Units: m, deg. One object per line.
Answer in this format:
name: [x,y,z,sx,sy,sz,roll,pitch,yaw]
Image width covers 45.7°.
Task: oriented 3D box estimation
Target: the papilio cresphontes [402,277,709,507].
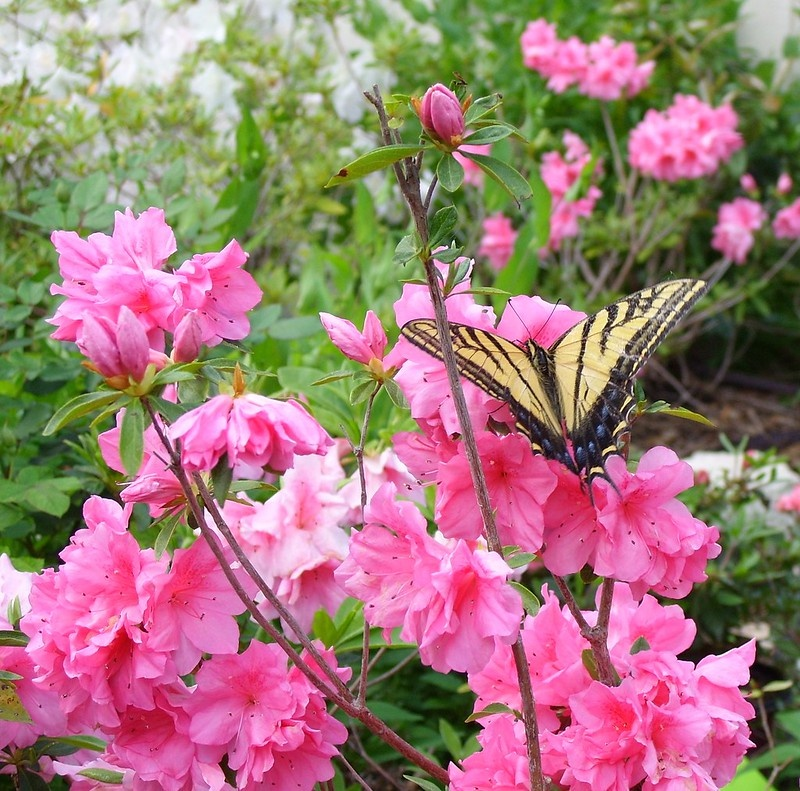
papilio cresphontes: [0.203,-0.054,1.152,0.350,0.182,0.219,-20,6,-37]
